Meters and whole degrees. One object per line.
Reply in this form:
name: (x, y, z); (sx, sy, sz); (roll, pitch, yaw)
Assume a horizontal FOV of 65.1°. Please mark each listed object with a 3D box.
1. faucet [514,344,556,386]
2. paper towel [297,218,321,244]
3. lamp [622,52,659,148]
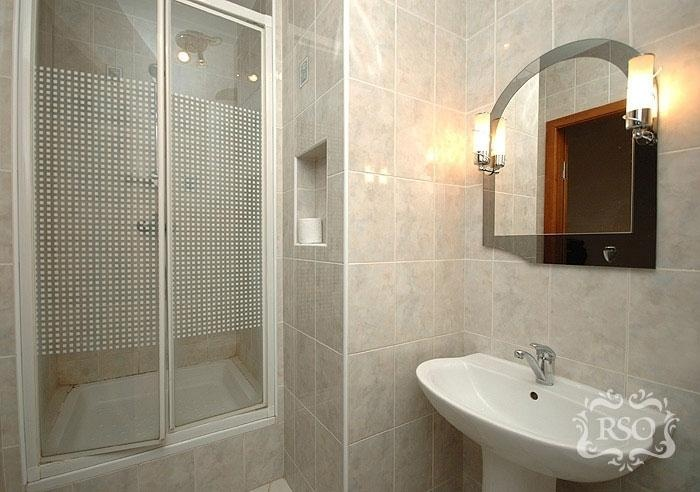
faucet: (0.844, 0.536, 2.532); (0.206, 0.175, 0.071); (18, -14, -21)
paper towel: (-0.206, -0.089, 2.957); (0.116, 0.126, 0.124); (3, 3, 24)
lamp: (1.220, -0.611, 2.299); (0.121, 0.367, 0.062); (0, 2, 32)
